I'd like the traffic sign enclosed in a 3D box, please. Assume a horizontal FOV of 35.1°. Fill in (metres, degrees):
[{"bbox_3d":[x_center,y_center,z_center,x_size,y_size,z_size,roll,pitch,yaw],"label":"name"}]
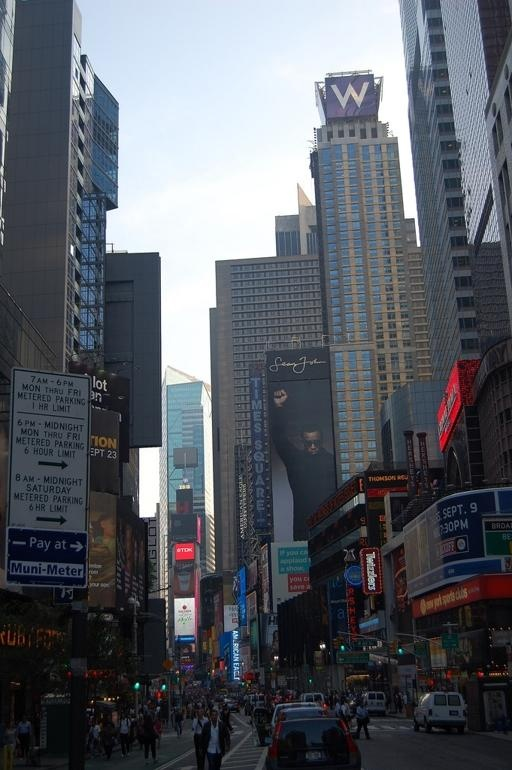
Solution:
[{"bbox_3d":[-2.679,1.174,10.453,1.156,2.760,0.228,10,-21,-40],"label":"traffic sign"}]
